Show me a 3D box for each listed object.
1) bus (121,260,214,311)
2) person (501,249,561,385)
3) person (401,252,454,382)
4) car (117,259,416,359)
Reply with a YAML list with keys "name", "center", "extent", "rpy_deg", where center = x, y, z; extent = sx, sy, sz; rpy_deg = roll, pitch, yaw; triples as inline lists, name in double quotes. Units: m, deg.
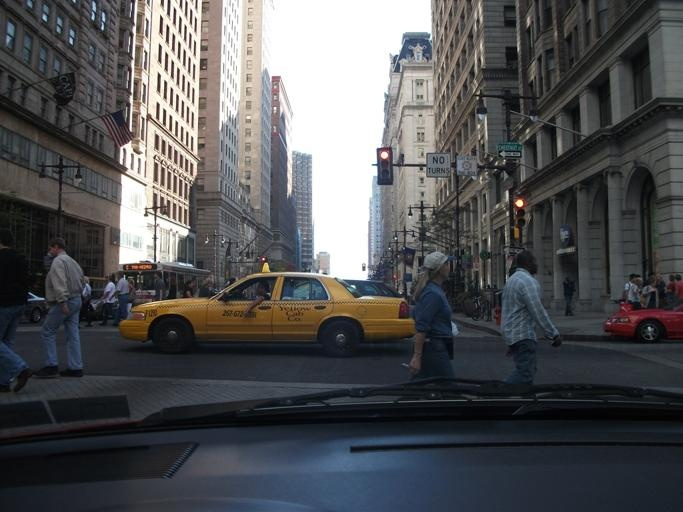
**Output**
- name: "bus"
  center: [-7.142, 1.158, 30.651]
  extent: [1.500, 1.798, 6.081]
  rpy_deg: [-1, -4, 7]
- name: "person"
  center: [2.710, 0.915, 11.020]
  extent: [0.985, 2.211, 0.788]
  rpy_deg: [0, -1, 5]
- name: "person"
  center: [1.223, 0.822, 10.375]
  extent: [0.609, 1.661, 0.727]
  rpy_deg: [-2, 0, 8]
- name: "car"
  center: [-1.549, 1.530, 17.277]
  extent: [6.424, 2.105, 2.561]
  rpy_deg: [3, -10, 2]
